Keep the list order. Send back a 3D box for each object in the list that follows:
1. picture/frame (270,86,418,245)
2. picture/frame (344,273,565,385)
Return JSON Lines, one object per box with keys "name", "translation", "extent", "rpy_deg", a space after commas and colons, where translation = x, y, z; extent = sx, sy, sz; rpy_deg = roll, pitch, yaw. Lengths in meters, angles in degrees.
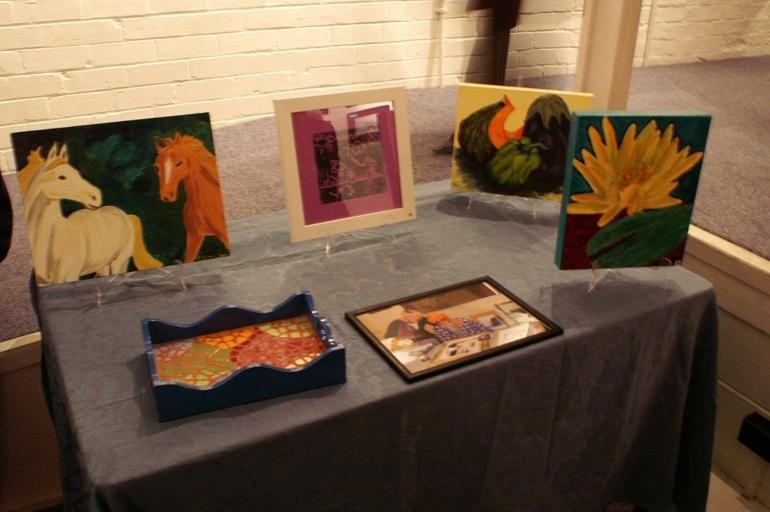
{"name": "picture/frame", "translation": [-0.117, -0.257, 1.500], "extent": [0.496, 0.423, 0.034], "rpy_deg": [-14, 24, -20]}
{"name": "picture/frame", "translation": [0.159, 0.168, 1.333], "extent": [0.394, 0.022, 0.472], "rpy_deg": [-14, 14, -10]}
